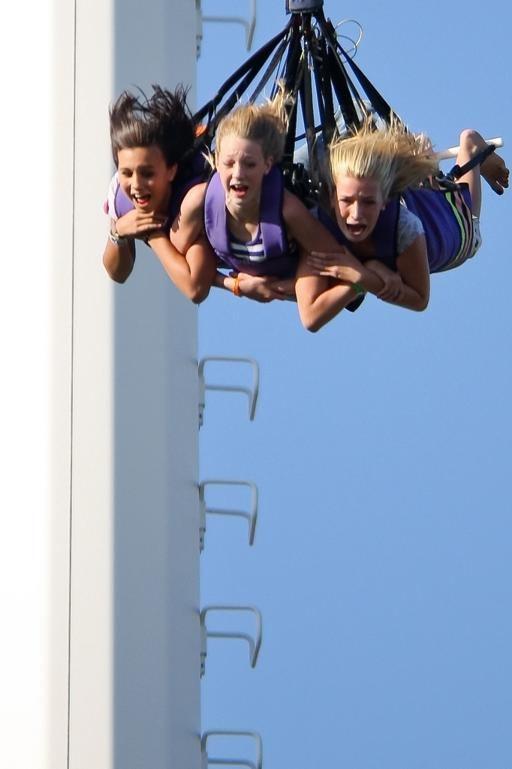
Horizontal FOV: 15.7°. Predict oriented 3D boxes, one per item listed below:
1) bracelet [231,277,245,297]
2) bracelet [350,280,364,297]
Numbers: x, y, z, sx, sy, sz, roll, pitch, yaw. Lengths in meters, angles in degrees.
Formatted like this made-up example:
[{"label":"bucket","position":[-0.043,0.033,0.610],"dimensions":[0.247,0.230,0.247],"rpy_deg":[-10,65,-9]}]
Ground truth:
[{"label":"bracelet","position":[-0.036,-0.188,3.561],"dimensions":[0.012,0.033,0.021],"rpy_deg":[3,-16,-8]},{"label":"bracelet","position":[0.191,-0.181,3.497],"dimensions":[0.015,0.030,0.025],"rpy_deg":[-3,-6,8]}]
